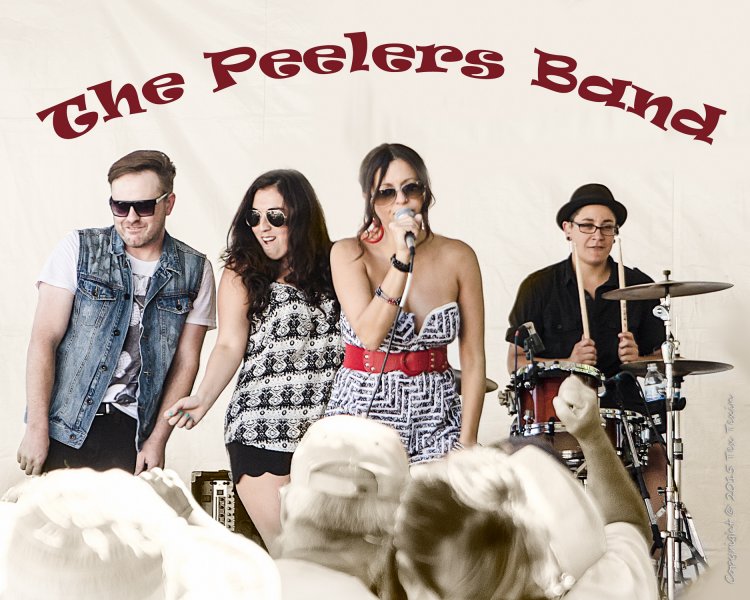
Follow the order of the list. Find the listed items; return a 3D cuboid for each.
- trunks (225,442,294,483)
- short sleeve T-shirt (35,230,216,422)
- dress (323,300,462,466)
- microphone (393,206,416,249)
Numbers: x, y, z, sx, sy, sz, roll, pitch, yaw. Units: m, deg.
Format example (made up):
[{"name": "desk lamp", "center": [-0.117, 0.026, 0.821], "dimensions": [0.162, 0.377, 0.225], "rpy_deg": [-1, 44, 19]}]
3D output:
[{"name": "trunks", "center": [-0.472, 0.603, 3.791], "dimensions": [0.148, 0.136, 0.169], "rpy_deg": [3, -17, -3]}, {"name": "short sleeve T-shirt", "center": [-1.058, 0.054, 4.488], "dimensions": [0.938, 0.791, 0.455], "rpy_deg": [9, -23, -20]}, {"name": "dress", "center": [0.075, 0.246, 3.474], "dimensions": [0.442, 0.630, 0.349], "rpy_deg": [-1, 3, -15]}, {"name": "microphone", "center": [0.102, -0.229, 3.481], "dimensions": [0.074, 0.166, 0.151], "rpy_deg": [4, -10, 2]}]
